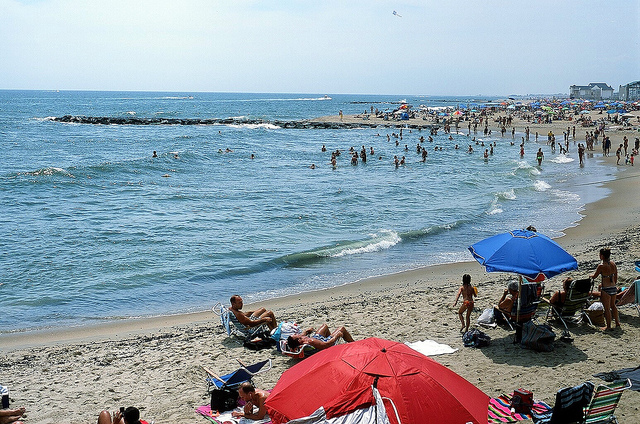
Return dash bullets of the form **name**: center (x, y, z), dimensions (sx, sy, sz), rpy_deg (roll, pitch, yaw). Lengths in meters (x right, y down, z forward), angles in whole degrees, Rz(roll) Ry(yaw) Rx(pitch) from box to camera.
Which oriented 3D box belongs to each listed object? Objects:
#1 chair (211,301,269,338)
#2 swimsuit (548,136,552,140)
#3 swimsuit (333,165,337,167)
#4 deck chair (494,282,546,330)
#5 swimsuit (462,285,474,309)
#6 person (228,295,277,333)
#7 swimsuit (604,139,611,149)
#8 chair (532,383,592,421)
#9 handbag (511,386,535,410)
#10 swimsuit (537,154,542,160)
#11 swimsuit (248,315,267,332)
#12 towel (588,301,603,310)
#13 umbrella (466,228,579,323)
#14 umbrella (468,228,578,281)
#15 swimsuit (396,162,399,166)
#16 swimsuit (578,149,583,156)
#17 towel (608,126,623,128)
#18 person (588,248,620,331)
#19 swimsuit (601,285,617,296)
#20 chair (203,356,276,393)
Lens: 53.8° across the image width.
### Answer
- **chair**: center (-2.265, 3.086, 17.665), dimensions (1.659, 0.931, 0.962), rpy_deg (-4, 4, -17)
- **swimsuit**: center (20.360, -6.579, 55.578), dimensions (0.138, 0.312, 0.406), rpy_deg (-6, 13, -4)
- **swimsuit**: center (1.123, -3.513, 47.493), dimensions (0.167, 0.132, 0.042), rpy_deg (1, -20, -25)
- **deck chair**: center (5.747, 2.464, 17.104), dimensions (0.933, 1.239, 1.543), rpy_deg (-2, -4, -15)
- **swimsuit**: center (4.071, 2.405, 17.298), dimensions (0.364, 0.453, 0.190), rpy_deg (0, -6, 8)
- **person**: center (-1.849, 2.733, 17.591), dimensions (0.972, 0.966, 0.945), rpy_deg (-16, 18, -40)
- **swimsuit**: center (21.362, -5.084, 46.867), dimensions (0.254, 0.804, 0.928), rpy_deg (3, 16, 29)
- **chair**: center (5.330, 4.169, 13.853), dimensions (1.141, 0.850, 0.635), rpy_deg (1, 15, 22)
- **handbag**: center (4.674, 4.211, 14.419), dimensions (0.442, 0.465, 0.505), rpy_deg (8, -9, -22)
- **swimsuit**: center (15.790, -4.013, 45.254), dimensions (0.212, 0.340, 0.244), rpy_deg (0, 15, 18)
- **swimsuit**: center (-1.756, 3.048, 17.476), dimensions (0.415, 0.320, 0.501), rpy_deg (-10, 15, -23)
- **towel**: center (7.500, 2.528, 17.147), dimensions (0.402, 0.153, 0.145), rpy_deg (-4, -3, 25)
- **umbrella**: center (5.301, 1.883, 17.089), dimensions (3.214, 2.689, 3.158), rpy_deg (2, -10, 37)
- **umbrella**: center (5.649, 0.995, 17.307), dimensions (3.285, 1.276, 3.161), rpy_deg (2, 10, 4)
- **swimsuit**: center (5.834, -3.671, 47.458), dimensions (0.091, 0.209, 0.515), rpy_deg (-1, 13, 17)
- **swimsuit**: center (17.950, -4.147, 43.356), dimensions (0.248, 0.493, 0.708), rpy_deg (0, 14, 20)
- **towel**: center (28.913, -8.355, 61.518), dimensions (1.084, 0.062, 1.795), rpy_deg (4, 15, 31)
- **person**: center (7.641, 2.013, 16.796), dimensions (0.665, 2.161, 0.713), rpy_deg (1, 16, 23)
- **swimsuit**: center (7.660, 2.054, 16.649), dimensions (0.302, 0.219, 0.259), rpy_deg (10, -16, -7)
- **chair**: center (-2.119, 3.998, 15.322), dimensions (1.339, 0.699, 0.723), rpy_deg (-8, -1, 12)
